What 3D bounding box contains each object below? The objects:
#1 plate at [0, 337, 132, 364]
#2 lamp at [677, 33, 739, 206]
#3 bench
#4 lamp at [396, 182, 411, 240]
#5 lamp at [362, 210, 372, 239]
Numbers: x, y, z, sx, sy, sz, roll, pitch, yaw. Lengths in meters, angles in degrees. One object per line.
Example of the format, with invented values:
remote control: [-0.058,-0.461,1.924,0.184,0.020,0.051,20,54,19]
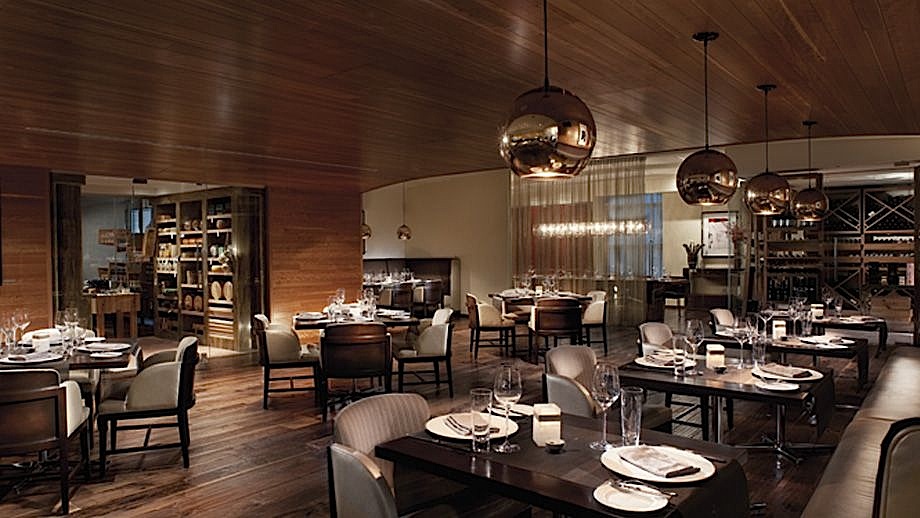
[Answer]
plate: [-4.500,1.121,6.761,1.292,0.212,0.739,-2,-2,-17]
lamp: [2.838,-1.474,6.832,0.572,1.884,1.867,-4,-1,22]
bench: [-1.146,0.604,15.816,1.921,1.090,1.962,3,-5,-36]
lamp: [-1.656,-1.413,17.050,0.371,1.541,0.941,-3,-1,-4]
lamp: [-2.557,-0.987,16.270,0.231,0.745,1.074,-3,-1,-7]
